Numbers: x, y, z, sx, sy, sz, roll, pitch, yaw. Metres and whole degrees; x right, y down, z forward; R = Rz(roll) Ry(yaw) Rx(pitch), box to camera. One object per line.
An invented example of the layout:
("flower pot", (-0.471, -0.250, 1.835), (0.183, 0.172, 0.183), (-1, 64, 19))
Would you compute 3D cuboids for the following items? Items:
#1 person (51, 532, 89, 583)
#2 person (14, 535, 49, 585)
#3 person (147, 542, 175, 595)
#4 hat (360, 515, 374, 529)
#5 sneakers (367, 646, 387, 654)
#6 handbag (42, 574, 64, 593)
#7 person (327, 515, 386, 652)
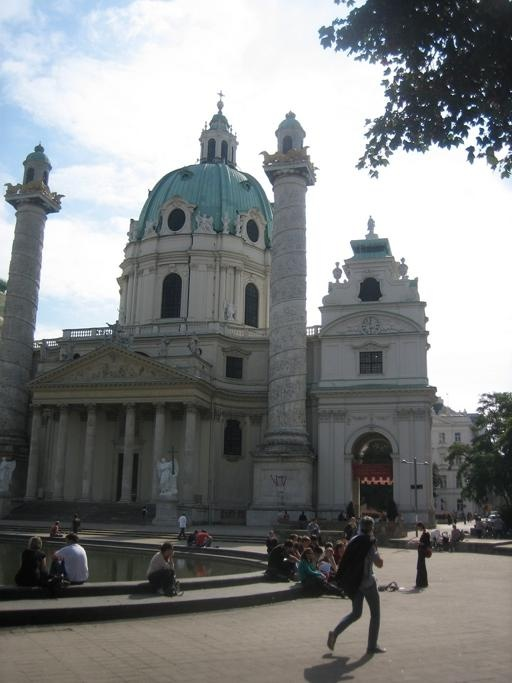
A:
("person", (-3.178, 3.724, 12.239), (0.593, 0.818, 0.756), (4, -12, -13))
("person", (-3.597, 3.550, 11.577), (0.508, 0.742, 0.647), (5, -12, -16))
("person", (-1.617, 3.944, 12.476), (0.517, 0.836, 0.767), (3, -12, -8))
("hat", (1.457, 2.359, 9.348), (0.154, 0.157, 0.183), (2, -2, 4))
("sneakers", (1.429, 3.650, 8.454), (0.225, 0.084, 0.077), (-2, -6, -12))
("handbag", (-3.252, 3.894, 11.516), (0.329, 0.277, 0.219), (0, -2, -9))
("person", (1.238, 3.009, 8.933), (0.650, 1.567, 0.789), (0, -12, 8))
